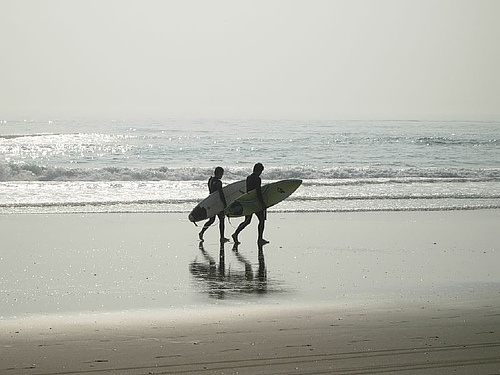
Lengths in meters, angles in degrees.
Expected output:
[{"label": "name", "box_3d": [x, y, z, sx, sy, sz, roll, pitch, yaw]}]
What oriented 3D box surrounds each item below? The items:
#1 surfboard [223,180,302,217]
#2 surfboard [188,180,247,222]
[{"label": "surfboard", "box_3d": [0.354, 0.266, 23.447, 2.883, 0.603, 0.297, -22, -13, -37]}, {"label": "surfboard", "box_3d": [-1.077, 0.379, 23.063, 0.440, 0.306, 1.758, 25, 30, 15]}]
